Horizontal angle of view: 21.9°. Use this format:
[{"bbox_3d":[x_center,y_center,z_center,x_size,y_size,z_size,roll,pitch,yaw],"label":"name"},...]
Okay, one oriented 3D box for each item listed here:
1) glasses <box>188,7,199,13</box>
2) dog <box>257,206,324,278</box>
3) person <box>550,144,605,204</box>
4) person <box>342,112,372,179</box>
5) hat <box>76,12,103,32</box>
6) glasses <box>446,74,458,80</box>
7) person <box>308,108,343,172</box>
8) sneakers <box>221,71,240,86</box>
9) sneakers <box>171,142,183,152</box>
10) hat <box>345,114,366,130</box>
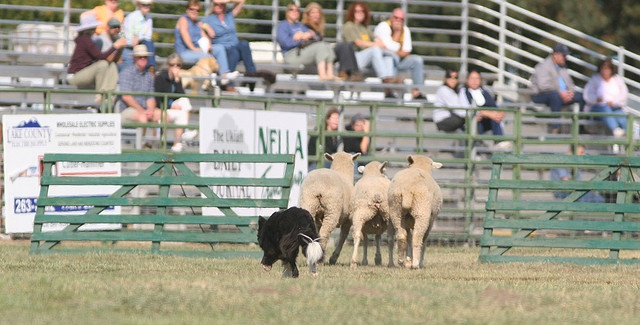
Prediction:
[{"bbox_3d":[-3.934,-4.773,50.601,0.360,0.166,0.200,2,1,-8],"label":"glasses"},{"bbox_3d":[-0.855,2.287,45.328,1.250,2.030,3.614,1,-5,-23],"label":"dog"},{"bbox_3d":[7.561,0.351,49.336,1.848,1.492,0.424,-3,-12,10],"label":"person"},{"bbox_3d":[1.088,-0.663,50.216,0.727,1.724,0.965,5,0,18],"label":"person"},{"bbox_3d":[-7.001,-4.321,49.686,0.627,0.270,0.578,-6,20,12],"label":"hat"},{"bbox_3d":[4.016,-2.735,51.025,0.233,0.177,0.260,5,13,30],"label":"glasses"},{"bbox_3d":[0.130,-0.750,50.022,0.688,2.151,1.192,11,-6,-23],"label":"person"},{"bbox_3d":[-2.835,-2.672,50.547,0.627,0.241,0.275,-30,35,7],"label":"sneakers"},{"bbox_3d":[-4.324,-0.510,49.330,0.291,0.149,0.293,-18,14,-40],"label":"sneakers"},{"bbox_3d":[1.043,-1.270,50.152,0.447,0.543,0.565,17,-10,8],"label":"hat"}]
